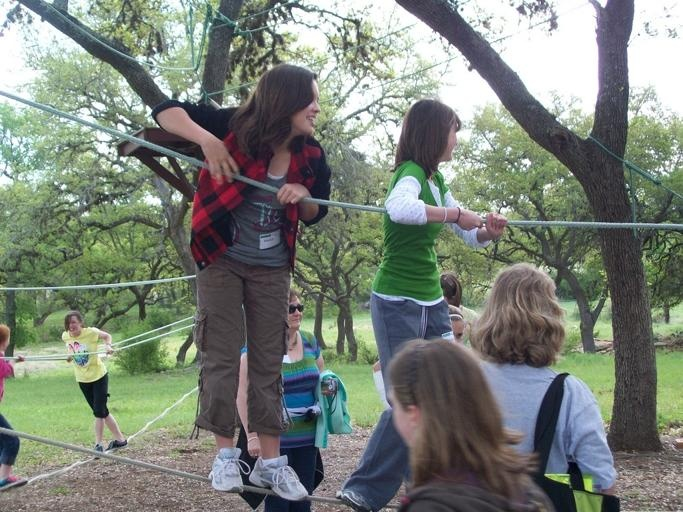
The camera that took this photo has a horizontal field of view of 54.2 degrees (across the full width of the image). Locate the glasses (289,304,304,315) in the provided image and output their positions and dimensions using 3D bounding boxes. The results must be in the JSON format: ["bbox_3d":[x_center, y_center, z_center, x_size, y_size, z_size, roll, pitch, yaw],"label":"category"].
[{"bbox_3d":[-0.422,0.465,5.953,0.099,0.044,0.100,11,13,41],"label":"glasses"}]

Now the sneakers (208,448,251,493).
[{"bbox_3d":[-0.823,1.528,4.769,0.238,0.318,0.211,2,-8,-14],"label":"sneakers"}]

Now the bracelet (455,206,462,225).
[{"bbox_3d":[0.861,-0.314,5.014,0.040,0.102,0.084,8,-1,-8],"label":"bracelet"}]

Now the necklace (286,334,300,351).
[{"bbox_3d":[-0.425,0.757,5.752,0.136,0.183,0.065,3,-14,-11],"label":"necklace"}]

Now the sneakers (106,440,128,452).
[{"bbox_3d":[-3.057,2.575,9.080,0.317,0.134,0.106,3,-8,-20],"label":"sneakers"}]

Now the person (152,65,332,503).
[{"bbox_3d":[-0.680,0.182,4.883,1.056,3.109,0.487,0,-7,0],"label":"person"}]

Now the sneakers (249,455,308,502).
[{"bbox_3d":[-0.463,1.631,4.987,0.525,0.258,0.214,15,0,29],"label":"sneakers"}]
